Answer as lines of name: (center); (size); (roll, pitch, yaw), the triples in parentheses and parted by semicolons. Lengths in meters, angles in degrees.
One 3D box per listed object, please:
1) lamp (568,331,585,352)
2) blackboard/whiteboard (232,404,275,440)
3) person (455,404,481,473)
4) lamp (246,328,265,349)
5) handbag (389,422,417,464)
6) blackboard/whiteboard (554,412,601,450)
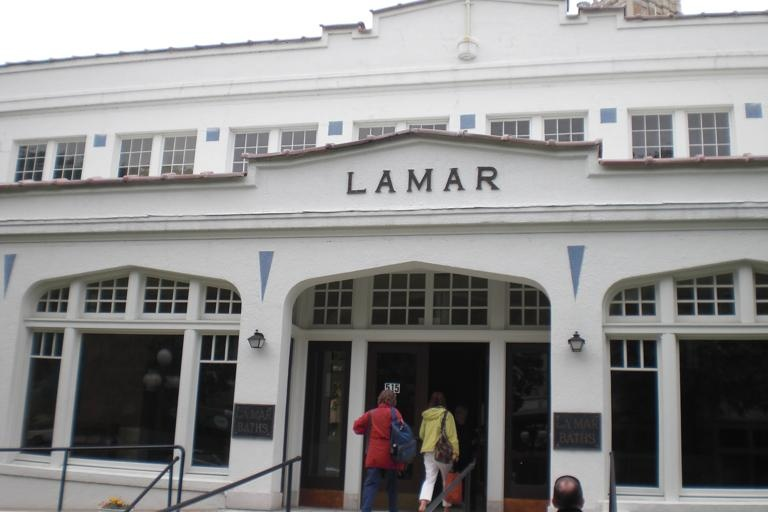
lamp: (3.349, 1.484, 13.096); (0.268, 0.381, 0.151); (-2, -16, 13)
blackboard/whiteboard: (-2.408, 3.065, 14.014); (0.940, 0.628, 0.103); (-4, -12, 24)
person: (1.680, 3.699, 15.317); (0.455, 1.313, 0.618); (1, -16, 5)
lamp: (-2.392, 1.558, 14.142); (0.332, 0.381, 0.210); (1, -16, 2)
handbag: (0.334, 3.218, 13.007); (0.389, 0.733, 0.294); (0, -16, 7)
blackboard/whiteboard: (3.301, 3.002, 12.933); (0.997, 0.654, 0.086); (6, -10, -20)
